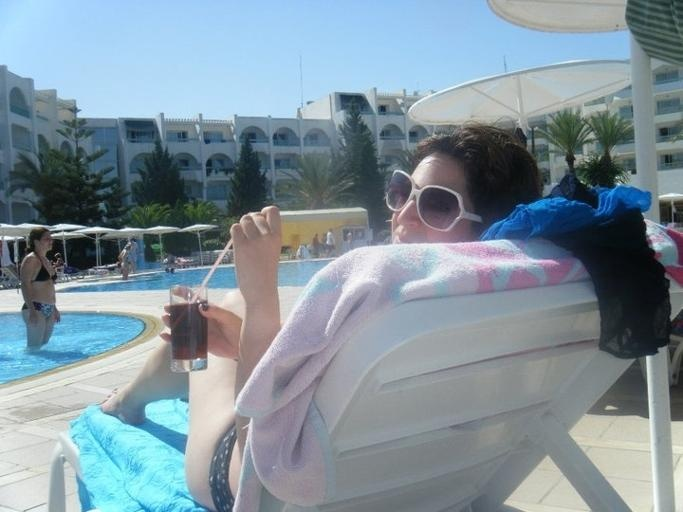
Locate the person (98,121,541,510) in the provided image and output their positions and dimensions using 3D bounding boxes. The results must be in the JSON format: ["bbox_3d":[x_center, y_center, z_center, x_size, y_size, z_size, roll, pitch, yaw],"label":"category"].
[{"bbox_3d":[-0.204,0.113,2.087,1.519,1.247,0.814,0,-13,28],"label":"person"}]

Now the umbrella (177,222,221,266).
[{"bbox_3d":[-7.984,-0.679,34.098,1.988,2.486,2.032,3,10,34],"label":"umbrella"}]

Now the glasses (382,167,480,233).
[{"bbox_3d":[0.272,-0.149,1.987,0.241,0.089,0.224,20,6,-45],"label":"glasses"}]
